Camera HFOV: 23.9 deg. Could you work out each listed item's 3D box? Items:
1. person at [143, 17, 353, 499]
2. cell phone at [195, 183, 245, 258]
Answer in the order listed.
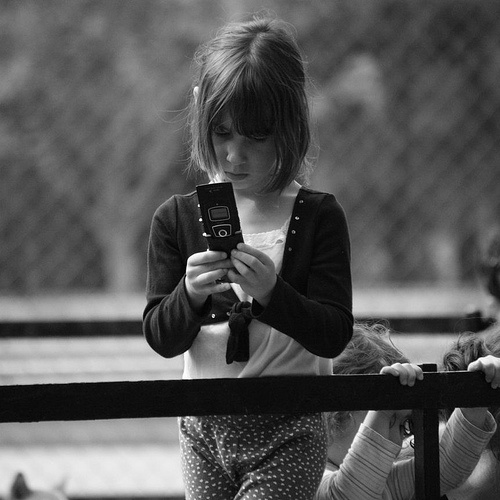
[{"bbox_3d":[0.006,0.020,2.885,0.518,1.195,0.350,3,3,-6],"label":"person"},{"bbox_3d":[-0.072,-0.071,2.763,0.112,0.176,0.078,3,3,0],"label":"cell phone"}]
